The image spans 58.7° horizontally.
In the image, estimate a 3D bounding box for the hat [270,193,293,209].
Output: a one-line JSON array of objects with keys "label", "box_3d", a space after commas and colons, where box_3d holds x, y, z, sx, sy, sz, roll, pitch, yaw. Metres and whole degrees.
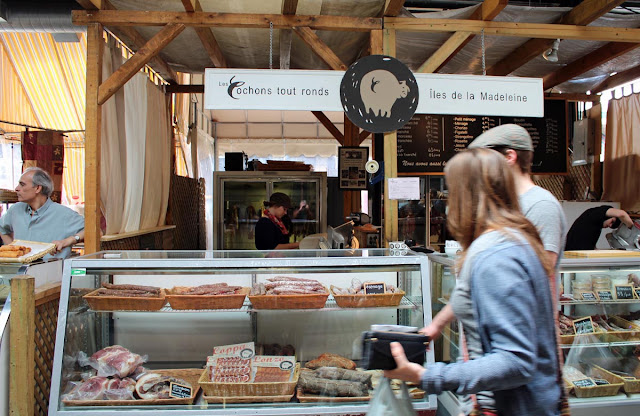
[{"label": "hat", "box_3d": [-0.603, -0.106, 8.872, 0.313, 0.153, 0.230, 4, -2, -31]}]

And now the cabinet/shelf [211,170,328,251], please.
[{"label": "cabinet/shelf", "box_3d": [-0.873, 0.010, 10.039, 1.597, 1.492, 0.543, 0, 0, -1]}]

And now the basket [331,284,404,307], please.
[{"label": "basket", "box_3d": [0.454, 0.896, 5.689, 0.510, 0.122, 0.314, 1, -3, -6]}]

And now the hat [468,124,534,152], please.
[{"label": "hat", "box_3d": [1.558, -0.591, 4.846, 0.427, 0.180, 0.281, 4, -4, 1]}]

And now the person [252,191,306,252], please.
[{"label": "person", "box_3d": [-0.755, 0.246, 9.109, 0.859, 0.966, 1.151, -3, 2, -11]}]

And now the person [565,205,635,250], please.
[{"label": "person", "box_3d": [3.509, 0.254, 7.218, 0.280, 0.593, 0.807, -1, 0, -20]}]
